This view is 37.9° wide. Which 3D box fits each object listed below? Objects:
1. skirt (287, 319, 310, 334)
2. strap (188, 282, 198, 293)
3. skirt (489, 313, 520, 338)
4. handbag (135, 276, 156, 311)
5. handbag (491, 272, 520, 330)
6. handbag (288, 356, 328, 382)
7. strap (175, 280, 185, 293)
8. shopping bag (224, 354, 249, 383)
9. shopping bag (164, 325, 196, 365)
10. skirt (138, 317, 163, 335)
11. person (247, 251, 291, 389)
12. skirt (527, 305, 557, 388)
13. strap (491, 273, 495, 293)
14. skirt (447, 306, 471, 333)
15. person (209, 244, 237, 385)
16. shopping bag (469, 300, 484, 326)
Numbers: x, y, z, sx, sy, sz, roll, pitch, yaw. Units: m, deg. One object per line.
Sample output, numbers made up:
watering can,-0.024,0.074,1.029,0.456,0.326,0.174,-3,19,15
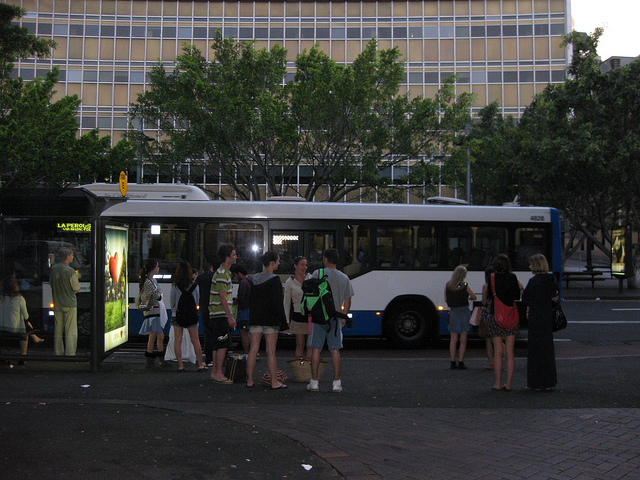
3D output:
skirt,-0.535,2.141,22.590,0.471,0.483,0.297,-9,10,-4
strap,-3.159,1.171,23.027,0.189,0.046,0.191,-38,4,34
skirt,4.325,1.872,21.999,0.839,0.648,0.484,-1,-2,-3
handbag,-4.434,1.364,23.686,0.409,0.929,0.896,3,-7,-35
handbag,4.476,1.447,22.312,0.675,1.615,0.423,11,-28,-10
handbag,-0.344,3.007,22.227,0.649,0.475,0.652,4,-12,-4
strap,-3.501,1.157,22.976,0.241,0.060,0.248,41,-1,21
shopping bag,-2.059,3.078,22.365,0.560,0.683,0.664,1,-1,27
shopping bag,-3.539,2.659,23.618,0.775,1.069,0.882,-1,-1,-21
skirt,-4.304,2.170,23.563,0.510,0.513,0.413,4,-18,-8
person,-1.279,1.903,22.062,0.991,3.250,0.549,-1,-1,3
skirt,5.213,2.509,21.977,0.666,1.938,0.259,-1,-1,12
strap,4.117,1.026,22.198,0.075,0.332,0.232,-3,-6,23
skirt,3.543,2.032,23.768,0.683,0.899,0.561,0,2,10
person,-2.380,1.792,22.419,0.619,3.332,0.611,-1,-1,-7
shopping bag,3.942,1.880,23.649,0.325,0.644,0.927,-1,-1,8
